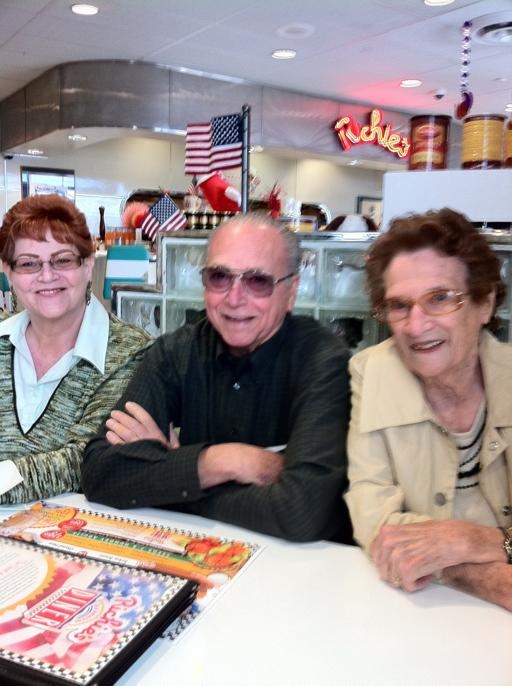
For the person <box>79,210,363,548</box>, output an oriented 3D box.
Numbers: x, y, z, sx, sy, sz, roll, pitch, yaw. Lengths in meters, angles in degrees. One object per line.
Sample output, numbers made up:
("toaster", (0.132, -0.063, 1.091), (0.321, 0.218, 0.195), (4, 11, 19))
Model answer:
("person", (-0.042, 0.100, 1.417), (0.692, 0.806, 0.528), (4, 9, 24))
